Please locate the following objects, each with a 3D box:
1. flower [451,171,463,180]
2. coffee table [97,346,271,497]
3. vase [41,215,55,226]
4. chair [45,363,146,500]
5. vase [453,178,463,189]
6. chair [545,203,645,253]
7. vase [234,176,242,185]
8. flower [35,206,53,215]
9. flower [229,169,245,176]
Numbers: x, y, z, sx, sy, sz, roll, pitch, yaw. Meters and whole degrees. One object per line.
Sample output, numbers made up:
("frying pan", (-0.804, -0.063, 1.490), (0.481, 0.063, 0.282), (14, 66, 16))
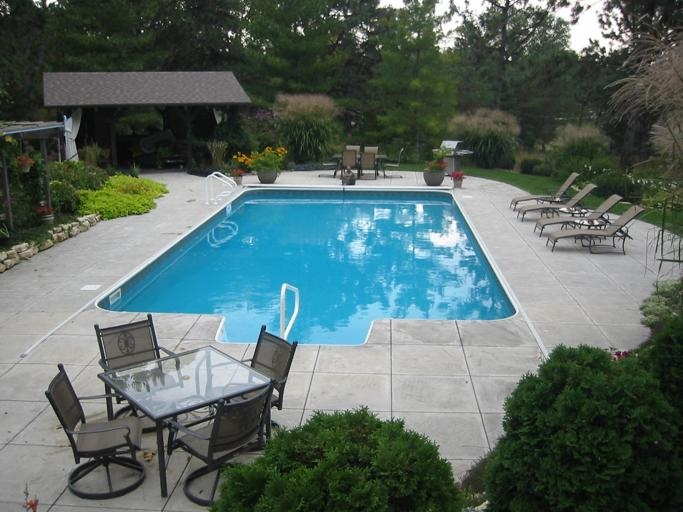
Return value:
("flower", (4.393, -3.071, 19.507), (0.388, 0.282, 0.388), (9, 16, 43))
("coffee table", (-1.496, 1.265, 4.763), (1.181, 0.759, 1.173), (-8, 19, -39))
("vase", (-6.959, -0.853, 12.151), (0.201, 0.157, 0.206), (0, 5, -2))
("chair", (-2.185, 1.608, 4.584), (0.656, 0.989, 0.711), (-3, 22, -9))
("vase", (4.447, -2.769, 19.700), (0.329, 0.378, 0.336), (6, 12, 39))
("chair", (5.557, -0.498, 11.308), (2.059, 1.077, 1.152), (-2, 12, 2))
("vase", (-4.045, -2.979, 20.138), (0.272, 0.217, 0.281), (1, 11, 7))
("flower", (-7.006, -1.067, 12.057), (0.318, 0.188, 0.208), (-4, 14, -17))
("flower", (-4.165, -3.286, 20.236), (0.476, 0.289, 0.669), (-3, 14, -16))
